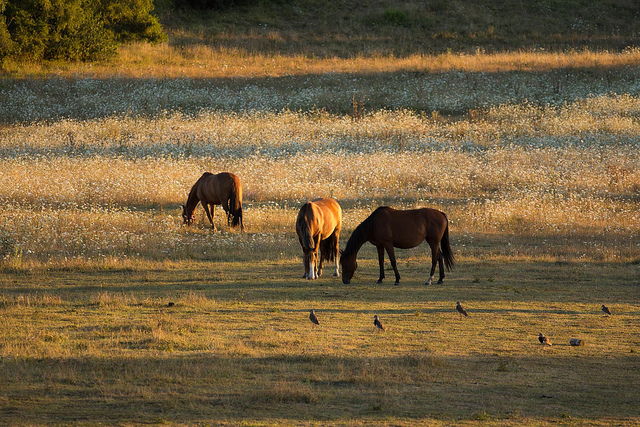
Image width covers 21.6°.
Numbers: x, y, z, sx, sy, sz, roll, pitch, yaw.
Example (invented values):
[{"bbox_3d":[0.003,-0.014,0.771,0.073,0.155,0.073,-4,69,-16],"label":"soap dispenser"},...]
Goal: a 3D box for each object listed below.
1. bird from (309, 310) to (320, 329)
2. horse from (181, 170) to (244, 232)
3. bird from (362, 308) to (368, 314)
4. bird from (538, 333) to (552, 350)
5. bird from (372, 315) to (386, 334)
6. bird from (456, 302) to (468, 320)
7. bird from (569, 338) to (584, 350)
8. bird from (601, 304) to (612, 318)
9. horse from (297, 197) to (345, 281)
[{"bbox_3d":[-0.309,6.551,103.557,0.595,1.157,1.276,2,9,-3],"label":"bird"},{"bbox_3d":[-7.034,-0.908,114.277,4.014,3.820,0.927,6,9,21],"label":"horse"},{"bbox_3d":[2.851,6.142,104.929,0.143,0.442,0.714,-2,10,-13],"label":"bird"},{"bbox_3d":[13.855,7.847,102.815,0.810,0.851,0.839,11,13,44],"label":"bird"},{"bbox_3d":[3.757,6.798,103.457,0.725,1.038,0.997,2,9,2],"label":"bird"},{"bbox_3d":[8.950,6.015,104.634,0.682,1.013,1.253,3,9,5],"label":"bird"},{"bbox_3d":[15.832,7.929,102.717,0.554,0.302,0.583,3,32,32],"label":"bird"},{"bbox_3d":[18.008,6.099,105.048,0.361,0.571,0.771,-7,-9,31],"label":"bird"},{"bbox_3d":[0.044,1.705,108.030,3.001,5.106,1.255,-6,12,-43],"label":"horse"}]
